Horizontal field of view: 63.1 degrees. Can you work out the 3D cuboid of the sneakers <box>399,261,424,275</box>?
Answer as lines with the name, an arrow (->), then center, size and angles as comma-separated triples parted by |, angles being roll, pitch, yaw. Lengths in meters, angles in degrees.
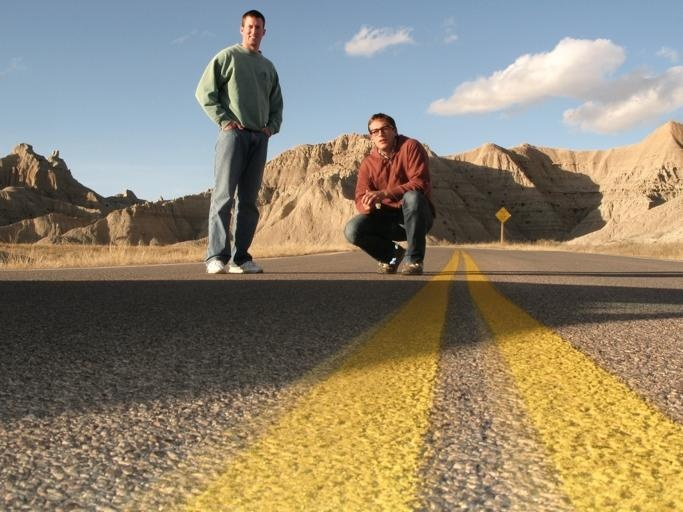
sneakers -> 0.737, 0.134, 5.720 | 0.203, 0.138, 0.298 | 1, 6, 5

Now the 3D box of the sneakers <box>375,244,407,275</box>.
sneakers -> 0.573, 0.048, 6.268 | 0.165, 0.202, 0.487 | -8, 14, 23

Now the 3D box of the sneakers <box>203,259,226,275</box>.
sneakers -> -1.334, 0.108, 5.896 | 0.233, 0.140, 0.158 | 1, 6, 9

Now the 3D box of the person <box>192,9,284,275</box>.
person -> -1.056, -1.187, 5.997 | 1.021, 2.728, 0.480 | -6, 8, -43

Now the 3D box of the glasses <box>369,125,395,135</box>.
glasses -> 0.435, -1.299, 5.837 | 0.273, 0.115, 0.219 | 0, 6, 4

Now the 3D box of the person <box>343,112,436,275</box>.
person -> 0.596, -0.635, 5.997 | 0.794, 1.709, 1.122 | -3, 7, -25

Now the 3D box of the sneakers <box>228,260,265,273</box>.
sneakers -> -1.017, 0.124, 6.017 | 0.366, 0.159, 0.152 | 1, -1, -3
